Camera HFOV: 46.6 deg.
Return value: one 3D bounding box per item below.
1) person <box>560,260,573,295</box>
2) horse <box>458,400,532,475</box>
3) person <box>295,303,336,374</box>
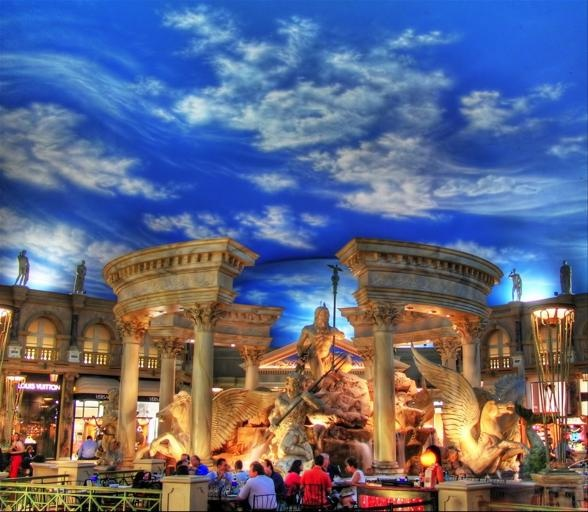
[{"bbox_3d":[14.938,1.241,37.657,0.720,1.838,1.238,-6,-20,18],"label":"person"},{"bbox_3d":[5.710,5.086,19.634,1.594,1.893,1.830,4,0,29],"label":"horse"},{"bbox_3d":[0.757,2.851,23.013,1.223,2.494,0.537,-1,-20,4],"label":"person"}]
